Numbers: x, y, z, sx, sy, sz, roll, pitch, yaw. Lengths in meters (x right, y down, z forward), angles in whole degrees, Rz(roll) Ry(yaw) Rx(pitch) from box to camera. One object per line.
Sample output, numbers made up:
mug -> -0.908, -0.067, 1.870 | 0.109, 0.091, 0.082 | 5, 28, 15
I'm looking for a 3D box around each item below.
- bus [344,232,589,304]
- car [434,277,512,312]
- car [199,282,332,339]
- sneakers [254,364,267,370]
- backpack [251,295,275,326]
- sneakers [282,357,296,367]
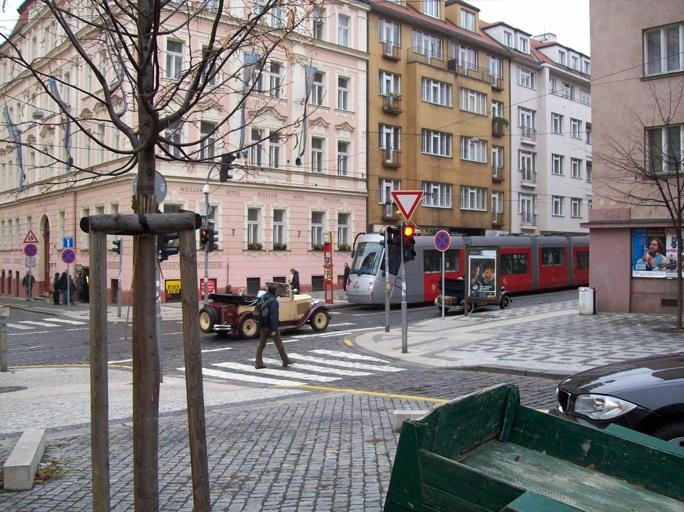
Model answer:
bus -> 6.689, 0.618, 36.528 | 16.120, 3.739, 2.672 | -1, 0, -40
car -> 5.135, 1.573, 28.748 | 3.065, 1.464, 1.736 | -6, -6, 22
car -> -2.364, 1.753, 22.911 | 3.476, 1.474, 1.666 | -4, 5, -39
sneakers -> -1.801, 2.490, 17.025 | 0.090, 0.118, 0.263 | 2, 5, 39
backpack -> -1.679, 1.216, 16.709 | 0.511, 0.719, 0.246 | -2, -2, 3
sneakers -> -1.217, 2.423, 17.342 | 0.112, 0.167, 0.355 | 0, 4, 24
